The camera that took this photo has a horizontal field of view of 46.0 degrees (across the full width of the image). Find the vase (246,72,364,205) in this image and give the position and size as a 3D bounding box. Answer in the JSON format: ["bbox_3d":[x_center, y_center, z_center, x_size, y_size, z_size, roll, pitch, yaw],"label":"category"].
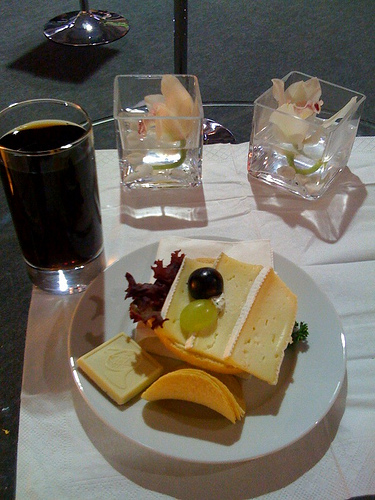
[{"bbox_3d":[0.214,-0.203,0.819,0.194,0.140,0.184,-17,39,-29],"label":"vase"}]

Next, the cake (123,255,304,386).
[{"bbox_3d":[0.042,0.075,0.547,0.192,0.062,0.140,5,76,31],"label":"cake"}]

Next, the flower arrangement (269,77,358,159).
[{"bbox_3d":[0.193,-0.234,0.796,0.161,0.140,0.107,-22,35,-28],"label":"flower arrangement"}]
